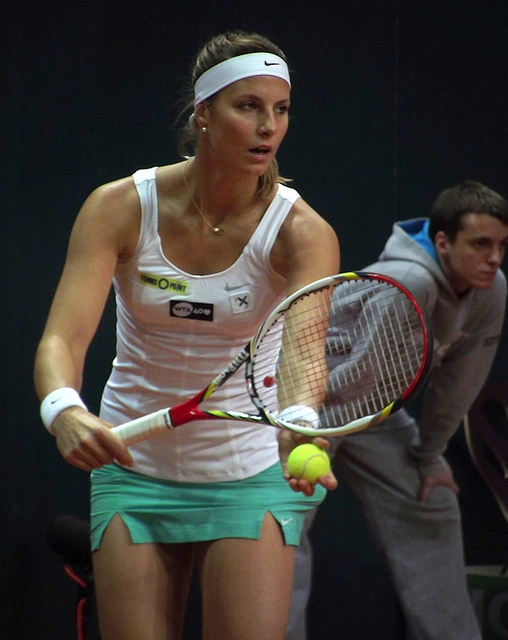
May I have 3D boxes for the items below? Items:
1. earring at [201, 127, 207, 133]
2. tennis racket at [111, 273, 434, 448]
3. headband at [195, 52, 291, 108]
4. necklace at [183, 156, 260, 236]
[{"bbox_3d":[-0.113,-0.422,1.641,0.011,0.009,0.003,0,-1,28],"label":"earring"},{"bbox_3d":[0.113,0.093,1.752,0.682,0.490,0.467,0,11,-2],"label":"tennis racket"},{"bbox_3d":[-0.029,-0.524,1.646,0.171,0.105,0.134,1,16,-17],"label":"headband"},{"bbox_3d":[-0.071,-0.274,1.664,0.228,0.229,0.023,2,2,8],"label":"necklace"}]
